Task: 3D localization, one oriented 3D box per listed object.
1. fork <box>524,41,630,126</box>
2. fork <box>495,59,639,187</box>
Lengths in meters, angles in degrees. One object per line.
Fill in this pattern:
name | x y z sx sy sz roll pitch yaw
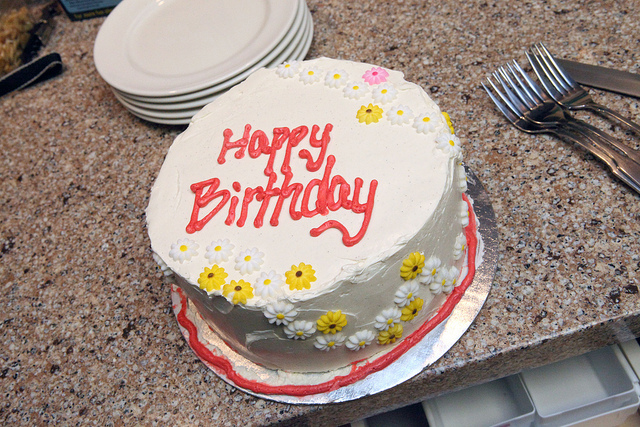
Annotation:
fork | 1.011 -0.494 2.817 0.059 0.065 0.440 -39 66 -7
fork | 0.956 -0.324 2.751 0.097 0.088 0.612 -40 64 -4
